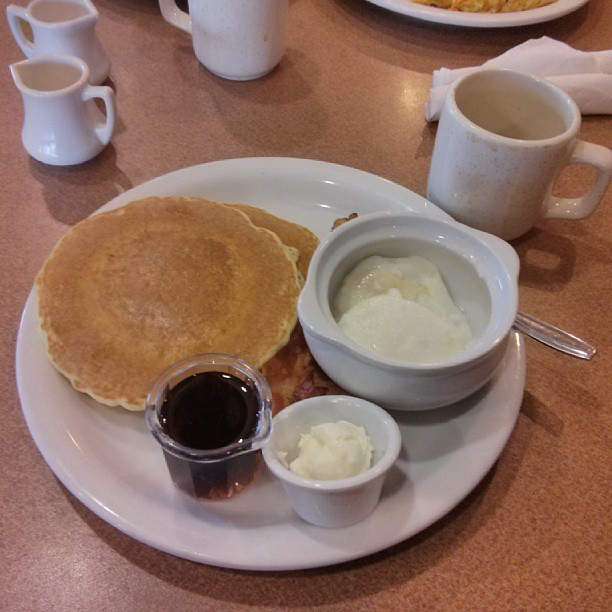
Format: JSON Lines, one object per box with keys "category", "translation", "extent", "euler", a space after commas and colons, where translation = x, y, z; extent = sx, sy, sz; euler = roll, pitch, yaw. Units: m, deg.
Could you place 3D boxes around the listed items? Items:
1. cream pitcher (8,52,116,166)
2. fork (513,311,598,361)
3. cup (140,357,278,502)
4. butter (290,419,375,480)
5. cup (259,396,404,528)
{"category": "cream pitcher", "translation": [-0.400, -0.315, 0.983], "extent": [0.150, 0.152, 0.136], "euler": [35, 59, 25]}
{"category": "fork", "translation": [0.323, 0.042, 0.782], "extent": [0.103, 0.008, 0.024], "euler": [33, 75, 25]}
{"category": "cup", "translation": [-0.090, 0.135, 0.671], "extent": [0.145, 0.099, 0.135], "euler": [3, 57, -5]}
{"category": "butter", "translation": [0.025, 0.142, 0.589], "extent": [0.077, 0.030, 0.063], "euler": [7, 52, 5]}
{"category": "cup", "translation": [0.026, 0.149, 0.607], "extent": [0.124, 0.093, 0.120], "euler": [0, 51, 0]}
